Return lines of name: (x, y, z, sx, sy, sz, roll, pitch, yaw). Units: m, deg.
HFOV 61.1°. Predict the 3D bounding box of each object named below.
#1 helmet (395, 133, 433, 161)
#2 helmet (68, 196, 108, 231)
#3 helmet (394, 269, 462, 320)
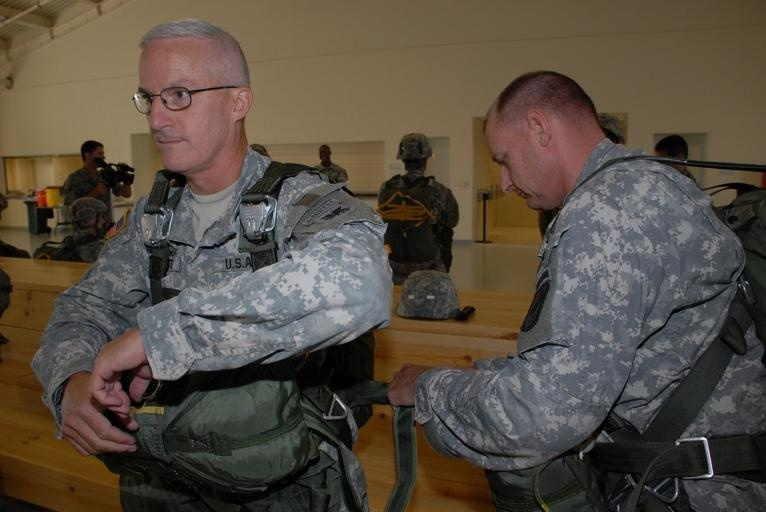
helmet: (0.302, -1.049, 6.163, 0.306, 0.237, 0.316, 0, -1, 11)
helmet: (-2.660, -0.414, 5.917, 0.357, 0.331, 0.277, -17, 25, -19)
helmet: (0.250, 0.197, 3.592, 0.388, 0.261, 0.521, 1, -1, -1)
